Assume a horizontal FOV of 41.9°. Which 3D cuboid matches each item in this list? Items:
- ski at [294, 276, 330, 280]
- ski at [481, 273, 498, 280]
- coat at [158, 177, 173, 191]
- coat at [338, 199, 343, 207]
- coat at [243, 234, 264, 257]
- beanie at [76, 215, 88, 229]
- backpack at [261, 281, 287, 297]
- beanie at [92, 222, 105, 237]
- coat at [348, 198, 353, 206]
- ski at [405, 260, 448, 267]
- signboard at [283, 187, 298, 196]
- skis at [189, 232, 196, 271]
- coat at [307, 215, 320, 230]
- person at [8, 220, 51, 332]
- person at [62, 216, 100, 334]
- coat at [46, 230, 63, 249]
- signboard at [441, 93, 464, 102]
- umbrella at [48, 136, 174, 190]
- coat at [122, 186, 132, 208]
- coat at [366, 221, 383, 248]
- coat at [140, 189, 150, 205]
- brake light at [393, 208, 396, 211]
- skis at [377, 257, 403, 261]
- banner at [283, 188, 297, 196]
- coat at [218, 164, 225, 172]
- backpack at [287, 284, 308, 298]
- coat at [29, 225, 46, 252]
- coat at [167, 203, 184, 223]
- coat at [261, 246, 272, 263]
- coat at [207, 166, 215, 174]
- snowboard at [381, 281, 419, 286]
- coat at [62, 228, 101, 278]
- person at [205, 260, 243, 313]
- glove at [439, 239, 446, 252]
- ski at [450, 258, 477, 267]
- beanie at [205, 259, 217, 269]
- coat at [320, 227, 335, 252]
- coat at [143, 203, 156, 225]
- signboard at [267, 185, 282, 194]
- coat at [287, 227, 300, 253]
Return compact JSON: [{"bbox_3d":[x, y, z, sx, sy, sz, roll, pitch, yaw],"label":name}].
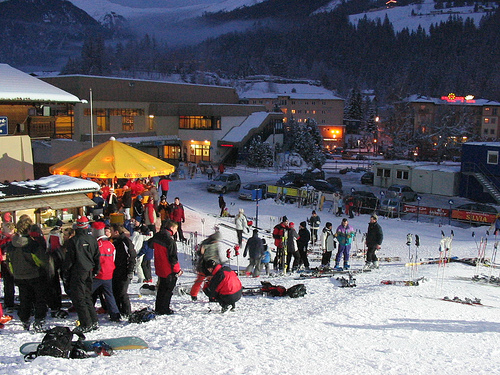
[{"bbox_3d":[2.479,3.554,25.834,1.420,0.100,0.173,2,2,-13],"label":"ski"},{"bbox_3d":[10.002,3.713,27.289,0.203,0.284,1.512,2,-9,43],"label":"ski"},{"bbox_3d":[-4.594,-0.216,35.062,0.509,0.702,1.358,2,2,-5],"label":"coat"},{"bbox_3d":[5.710,0.936,41.170,0.421,0.631,0.326,-1,-2,33],"label":"coat"},{"bbox_3d":[0.131,2.357,26.507,0.929,1.210,0.410,8,21,7],"label":"coat"},{"bbox_3d":[-5.095,1.030,19.940,0.257,0.397,0.352,-4,11,-41],"label":"beanie"},{"bbox_3d":[0.869,3.622,23.356,0.618,0.304,0.470,3,-3,19],"label":"backpack"},{"bbox_3d":[-4.644,1.286,20.083,0.307,0.432,0.409,2,17,-22],"label":"beanie"},{"bbox_3d":[6.272,0.875,40.915,0.250,0.444,0.669,2,2,5],"label":"coat"},{"bbox_3d":[7.886,3.389,29.318,1.834,0.161,0.206,-7,31,-11],"label":"ski"},{"bbox_3d":[2.881,0.301,45.109,0.299,0.522,0.999,0,3,-40],"label":"signboard"},{"bbox_3d":[-2.467,2.706,28.084,0.266,1.929,0.260,3,-13,-10],"label":"skis"},{"bbox_3d":[2.987,1.582,30.139,0.623,0.836,0.539,-1,1,5],"label":"coat"},{"bbox_3d":[-6.736,2.597,20.090,1.077,3.341,1.258,-1,1,-27],"label":"person"},{"bbox_3d":[-5.064,2.623,19.767,1.025,3.469,0.403,1,2,-16],"label":"person"},{"bbox_3d":[-6.275,1.669,21.117,0.470,0.727,0.367,2,5,-14],"label":"coat"},{"bbox_3d":[29.315,-12.972,94.505,2.418,1.096,7.247,3,2,23],"label":"signboard"},{"bbox_3d":[-5.992,-0.785,29.333,5.417,2.763,5.800,3,3,21],"label":"umbrella"},{"bbox_3d":[-5.392,0.459,28.808,0.331,0.809,0.514,3,2,25],"label":"coat"},{"bbox_3d":[5.073,1.927,26.900,0.444,1.139,0.743,0,3,-41],"label":"coat"},{"bbox_3d":[-4.768,0.370,29.911,0.427,0.611,0.469,1,-20,-4],"label":"coat"},{"bbox_3d":[9.429,1.413,42.770,0.102,0.208,0.281,0,3,-40],"label":"brake light"},{"bbox_3d":[6.303,3.233,29.727,1.094,0.210,0.242,0,-10,-12],"label":"skis"},{"bbox_3d":[2.848,0.264,45.031,0.713,0.435,0.504,0,-8,31],"label":"banner"},{"bbox_3d":[-2.551,-1.784,58.805,0.503,0.890,0.495,6,1,-7],"label":"coat"},{"bbox_3d":[1.659,3.669,23.228,0.363,0.297,0.512,13,-25,-38],"label":"backpack"},{"bbox_3d":[-6.416,1.484,19.917,0.237,0.715,0.484,-26,28,-25],"label":"coat"},{"bbox_3d":[-3.354,1.144,29.699,0.744,0.916,0.487,1,2,-16],"label":"coat"},{"bbox_3d":[0.611,2.661,26.124,0.348,0.582,0.426,5,-37,37],"label":"coat"},{"bbox_3d":[-3.462,-1.569,56.369,0.555,0.939,0.472,1,-4,-14],"label":"coat"},{"bbox_3d":[5.828,3.697,25.335,1.478,0.121,0.421,2,2,1],"label":"snowboard"},{"bbox_3d":[-5.103,1.949,19.955,1.129,1.777,0.655,-8,22,-38],"label":"coat"},{"bbox_3d":[-0.866,3.224,21.292,1.182,1.740,0.551,2,2,-4],"label":"person"},{"bbox_3d":[7.711,2.308,26.179,0.113,0.561,0.302,7,-3,4],"label":"glove"},{"bbox_3d":[9.735,3.418,29.998,1.254,0.149,0.199,4,3,43],"label":"ski"},{"bbox_3d":[-1.271,2.462,21.191,0.272,0.307,0.212,25,27,31],"label":"beanie"},{"bbox_3d":[3.216,2.144,26.991,0.565,1.037,0.430,2,2,8],"label":"coat"},{"bbox_3d":[-4.197,1.090,27.335,0.437,0.914,0.417,2,2,4],"label":"coat"},{"bbox_3d":[1.745,0.129,46.209,0.363,0.531,1.403,0,3,-33],"label":"signboard"},{"bbox_3d":[1.750,2.123,26.577,0.362,1.066,0.684,3,2,22],"label":"coat"}]
